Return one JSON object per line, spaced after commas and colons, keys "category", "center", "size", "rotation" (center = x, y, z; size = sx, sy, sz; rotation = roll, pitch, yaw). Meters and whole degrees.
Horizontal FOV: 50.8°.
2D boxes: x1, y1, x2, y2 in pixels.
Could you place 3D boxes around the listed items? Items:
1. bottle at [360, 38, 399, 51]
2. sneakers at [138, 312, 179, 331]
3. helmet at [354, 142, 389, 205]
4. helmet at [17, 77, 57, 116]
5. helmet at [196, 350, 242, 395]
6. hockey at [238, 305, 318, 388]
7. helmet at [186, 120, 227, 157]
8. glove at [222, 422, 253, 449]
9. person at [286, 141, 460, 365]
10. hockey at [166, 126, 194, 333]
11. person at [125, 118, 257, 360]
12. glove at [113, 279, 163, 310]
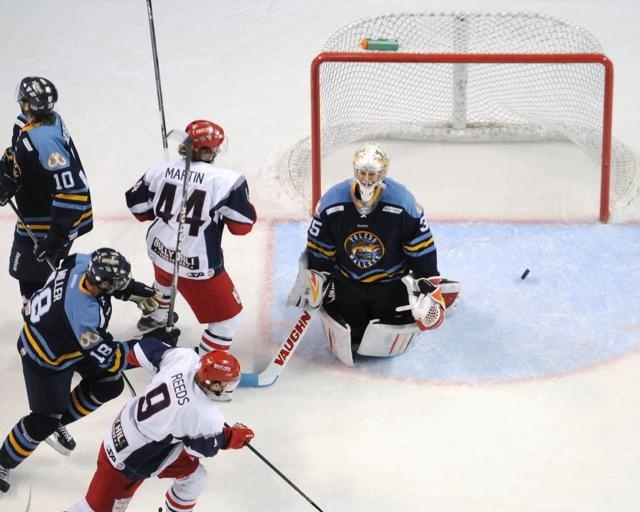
{"category": "bottle", "center": [0.460, -1.610, 5.147], "size": [0.266, 0.084, 0.124], "rotation": [2, 18, -5]}
{"category": "sneakers", "center": [-0.980, 0.397, 4.069], "size": [0.198, 0.098, 0.076], "rotation": [-19, 57, 5]}
{"category": "helmet", "center": [0.280, -0.435, 3.750], "size": [0.181, 0.359, 0.200], "rotation": [3, 17, 3]}
{"category": "helmet", "center": [-1.535, -0.843, 3.659], "size": [0.233, 0.226, 0.187], "rotation": [12, 17, 19]}
{"category": "helmet", "center": [-0.427, 0.519, 2.925], "size": [0.196, 0.198, 0.160], "rotation": [8, 14, -9]}
{"category": "hockey", "center": [-0.269, 0.521, 3.867], "size": [0.095, 0.450, 0.459], "rotation": [20, 3, 40]}
{"category": "helmet", "center": [-0.639, -0.620, 3.595], "size": [0.170, 0.180, 0.365], "rotation": [8, 18, 16]}
{"category": "glove", "center": [-0.391, 0.834, 3.104], "size": [0.137, 0.114, 0.056], "rotation": [13, -11, -33]}
{"category": "person", "center": [0.326, -0.006, 4.037], "size": [1.073, 1.331, 0.757], "rotation": [4, 27, 13]}
{"category": "hockey", "center": [-0.754, -0.100, 3.619], "size": [0.151, 1.155, 0.500], "rotation": [-1, 18, -11]}
{"category": "person", "center": [-0.708, -0.056, 3.906], "size": [0.801, 1.428, 0.585], "rotation": [24, 33, 21]}
{"category": "glove", "center": [-0.945, 0.204, 3.449], "size": [0.215, 0.139, 0.079], "rotation": [36, 32, -44]}
